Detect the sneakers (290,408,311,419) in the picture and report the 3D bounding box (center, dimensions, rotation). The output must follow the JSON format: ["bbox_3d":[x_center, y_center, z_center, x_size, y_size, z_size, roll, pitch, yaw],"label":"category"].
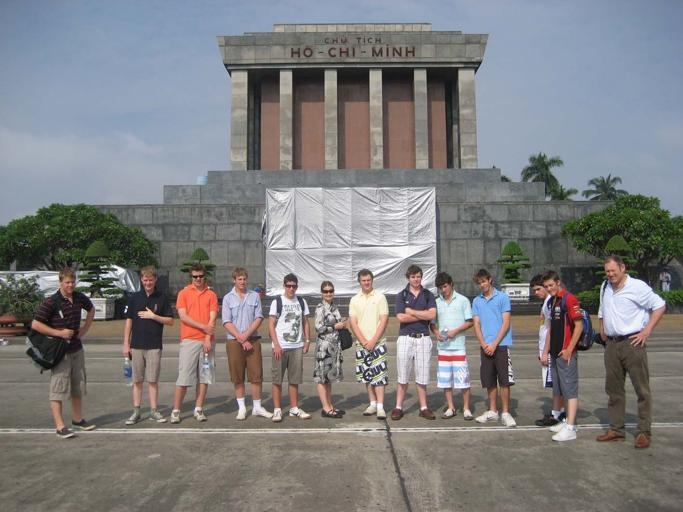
[{"bbox_3d":[-0.868,3.221,20.131,0.477,0.201,0.179,2,4,28],"label":"sneakers"}]

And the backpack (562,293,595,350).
[{"bbox_3d":[4.662,1.272,19.292,0.774,1.130,0.415,0,-2,-19],"label":"backpack"}]

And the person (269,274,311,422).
[{"bbox_3d":[-1.065,1.861,20.203,0.814,2.978,0.678,-1,-2,-3],"label":"person"}]

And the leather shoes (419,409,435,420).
[{"bbox_3d":[1.774,3.215,20.001,0.329,0.219,0.268,-1,-2,5],"label":"leather shoes"}]

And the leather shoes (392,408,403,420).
[{"bbox_3d":[1.132,3.206,19.919,0.208,0.234,0.185,-1,-2,2],"label":"leather shoes"}]

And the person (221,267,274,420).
[{"bbox_3d":[-2.025,1.798,20.470,0.922,3.102,1.284,-1,-2,-6],"label":"person"}]

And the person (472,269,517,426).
[{"bbox_3d":[3.167,1.837,20.207,0.851,3.145,1.306,-1,-2,7],"label":"person"}]

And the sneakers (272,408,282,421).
[{"bbox_3d":[-1.325,3.222,19.932,0.197,0.256,0.276,-1,-2,-7],"label":"sneakers"}]

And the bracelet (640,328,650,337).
[{"bbox_3d":[5.900,1.468,18.826,0.155,0.123,0.150,-1,3,-6],"label":"bracelet"}]

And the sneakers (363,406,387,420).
[{"bbox_3d":[0.681,3.200,20.109,0.570,0.247,0.290,-2,-2,33],"label":"sneakers"}]

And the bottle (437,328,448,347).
[{"bbox_3d":[2.106,1.680,20.034,0.197,0.350,0.082,3,-1,25],"label":"bottle"}]

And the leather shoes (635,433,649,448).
[{"bbox_3d":[5.801,3.495,18.636,0.353,0.272,0.279,-1,-2,3],"label":"leather shoes"}]

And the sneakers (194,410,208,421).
[{"bbox_3d":[-2.876,3.225,19.917,0.257,0.252,0.223,0,-2,-17],"label":"sneakers"}]

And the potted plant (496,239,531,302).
[{"bbox_3d":[7.291,0.610,40.938,1.225,2.343,1.123,-2,0,-4],"label":"potted plant"}]

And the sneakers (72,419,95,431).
[{"bbox_3d":[-5.167,3.367,19.490,0.387,0.170,0.212,-1,-2,23],"label":"sneakers"}]

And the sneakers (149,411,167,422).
[{"bbox_3d":[-3.767,3.273,19.956,0.401,0.180,0.176,5,0,31],"label":"sneakers"}]

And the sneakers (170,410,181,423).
[{"bbox_3d":[-3.401,3.289,19.890,0.129,0.160,0.362,4,-19,-10],"label":"sneakers"}]

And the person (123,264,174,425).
[{"bbox_3d":[-3.989,1.793,19.996,0.923,3.177,0.409,-1,-2,-12],"label":"person"}]

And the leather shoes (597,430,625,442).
[{"bbox_3d":[5.226,3.436,18.860,0.567,0.279,0.217,1,-4,5],"label":"leather shoes"}]

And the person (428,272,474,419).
[{"bbox_3d":[2.327,1.838,20.317,0.834,2.989,0.770,-1,-2,5],"label":"person"}]

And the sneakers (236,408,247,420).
[{"bbox_3d":[-2.067,3.224,20.091,0.229,0.230,0.385,-1,-2,-8],"label":"sneakers"}]

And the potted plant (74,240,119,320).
[{"bbox_3d":[-9.799,0.837,38.564,1.401,3.004,1.367,6,6,-16],"label":"potted plant"}]

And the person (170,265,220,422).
[{"bbox_3d":[-3.069,1.763,20.266,0.955,3.234,0.912,-1,-2,-9],"label":"person"}]

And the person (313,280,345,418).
[{"bbox_3d":[-0.251,1.908,20.118,0.615,2.777,0.286,-1,-2,-3],"label":"person"}]

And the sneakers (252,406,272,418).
[{"bbox_3d":[-1.625,3.200,20.182,0.345,0.132,0.198,9,2,-18],"label":"sneakers"}]

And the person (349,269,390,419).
[{"bbox_3d":[0.574,1.802,20.191,0.755,3.031,0.449,-1,-2,6],"label":"person"}]

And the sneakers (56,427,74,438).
[{"bbox_3d":[-5.423,3.433,19.091,0.323,0.144,0.171,-2,-4,34],"label":"sneakers"}]
